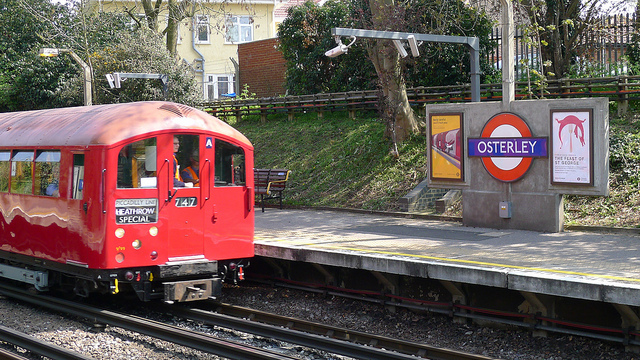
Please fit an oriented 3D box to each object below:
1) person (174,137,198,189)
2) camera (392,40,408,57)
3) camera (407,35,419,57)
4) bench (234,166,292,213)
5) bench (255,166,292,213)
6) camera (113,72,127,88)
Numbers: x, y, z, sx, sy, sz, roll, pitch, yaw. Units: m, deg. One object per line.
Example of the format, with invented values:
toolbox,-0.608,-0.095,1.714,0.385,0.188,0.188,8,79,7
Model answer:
person,-3.921,-0.493,20.076,0.522,1.424,0.171,-7,7,-18
camera,2.701,-4.416,23.664,0.325,0.556,0.613,-4,6,7
camera,3.069,-4.423,23.361,0.300,0.689,0.945,-4,6,7
bench,-2.736,0.405,27.938,1.316,1.568,3.804,-5,4,-38
bench,-2.469,0.355,27.825,1.268,1.568,3.235,-2,3,-35
camera,-8.478,-4.205,29.972,0.519,0.505,0.143,5,7,30
